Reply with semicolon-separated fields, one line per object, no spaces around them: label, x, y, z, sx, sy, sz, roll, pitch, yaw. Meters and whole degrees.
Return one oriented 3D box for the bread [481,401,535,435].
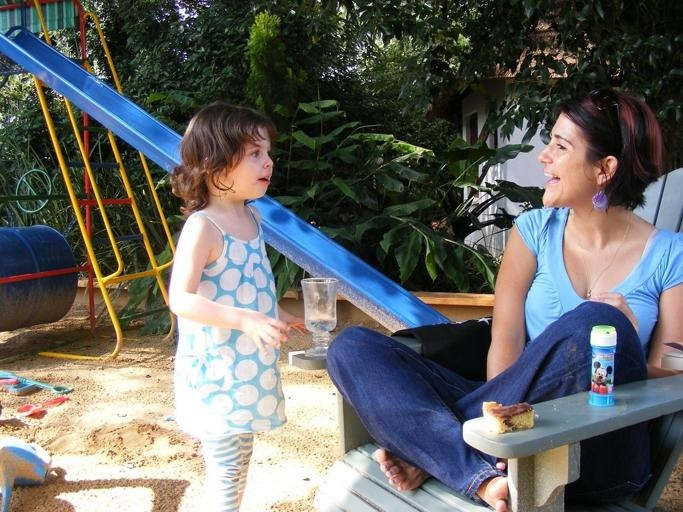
bread;0.415;0.394;1.409;0.125;0.057;0.079;0;9;9

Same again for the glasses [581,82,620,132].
glasses;0.901;-0.512;1.955;0.104;0.135;0.146;-6;-3;-29

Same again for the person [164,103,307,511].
person;-0.360;0.195;1.915;0.446;1.412;0.521;-3;11;-5
